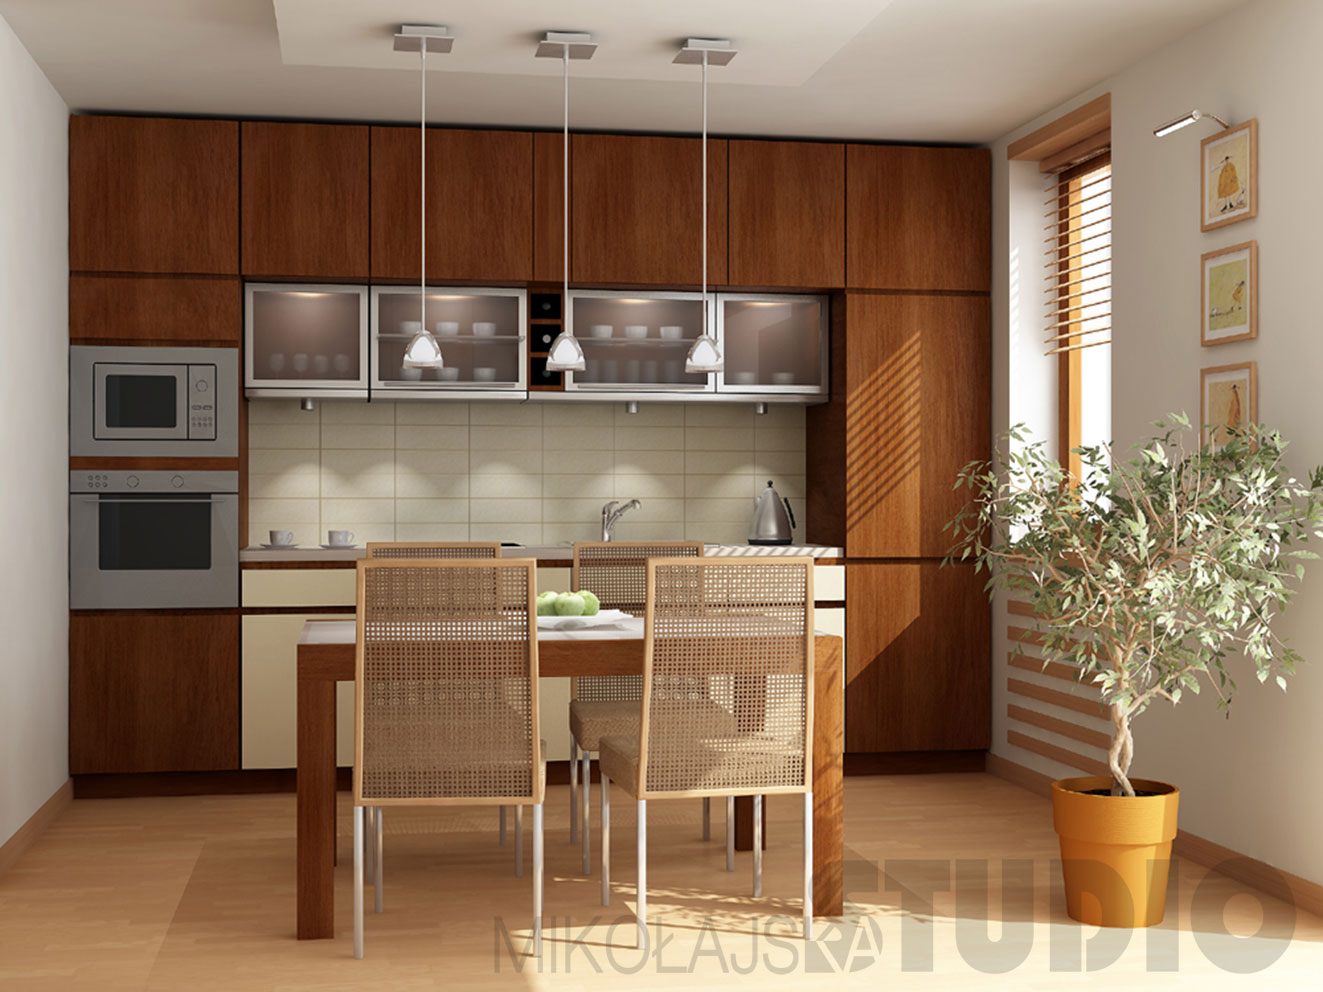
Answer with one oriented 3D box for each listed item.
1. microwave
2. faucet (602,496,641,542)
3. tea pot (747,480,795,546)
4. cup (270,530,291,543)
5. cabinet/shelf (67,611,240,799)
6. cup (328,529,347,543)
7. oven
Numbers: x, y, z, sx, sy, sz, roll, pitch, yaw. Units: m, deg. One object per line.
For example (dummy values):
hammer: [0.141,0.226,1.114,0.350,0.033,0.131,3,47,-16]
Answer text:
microwave: [-2.308,-0.418,5.102,0.802,0.547,0.481,0,-3,-11]
faucet: [-0.213,0.113,5.822,0.210,0.216,0.186,0,1,-1]
tea pot: [0.581,0.082,5.819,0.247,0.326,0.457,0,1,5]
cup: [-1.816,0.190,5.335,0.088,0.066,0.065,2,-4,-25]
cabinet/shelf: [-2.306,0.831,5.296,0.883,0.814,0.471,2,14,-22]
cup: [-1.553,0.191,5.403,0.058,0.061,0.092,-5,-7,45]
oven: [-2.470,0.219,5.228,0.472,0.611,0.837,-3,-3,37]
